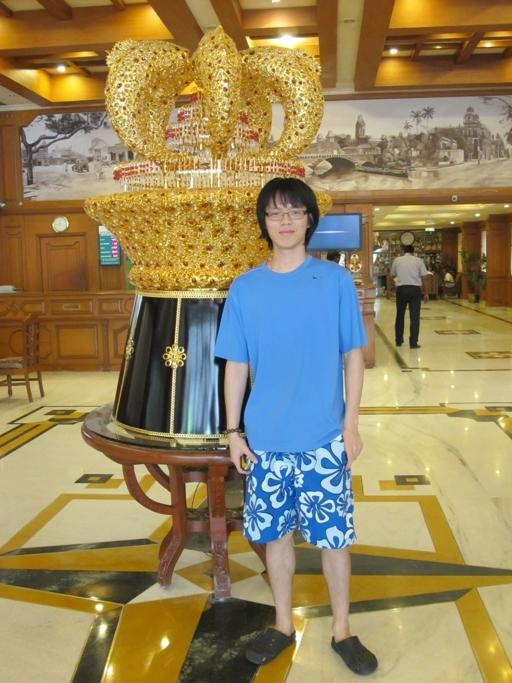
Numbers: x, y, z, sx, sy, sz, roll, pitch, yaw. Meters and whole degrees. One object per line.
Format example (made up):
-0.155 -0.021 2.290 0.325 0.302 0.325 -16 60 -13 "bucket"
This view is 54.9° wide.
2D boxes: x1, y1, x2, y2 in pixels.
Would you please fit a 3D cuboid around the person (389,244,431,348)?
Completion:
2.558 -0.740 8.281 0.556 1.712 0.690 -2 2 5 "person"

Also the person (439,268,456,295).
7.998 -2.493 20.603 0.588 1.130 1.299 -1 2 20 "person"

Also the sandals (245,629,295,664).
0.042 0.822 1.372 0.058 0.054 0.141 6 3 40 "sandals"

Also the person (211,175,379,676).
0.102 0.241 1.273 0.384 1.268 0.300 -1 2 13 "person"

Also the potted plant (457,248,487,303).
7.548 -2.271 17.241 0.698 1.902 2.201 -1 2 22 "potted plant"

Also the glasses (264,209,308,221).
0.067 -0.294 1.146 0.094 0.030 0.038 -2 2 -1 "glasses"

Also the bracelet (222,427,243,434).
-0.059 0.216 1.212 0.028 0.008 0.028 1 3 6 "bracelet"

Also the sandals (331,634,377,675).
0.264 0.821 1.320 0.060 0.044 0.113 -5 2 -28 "sandals"
